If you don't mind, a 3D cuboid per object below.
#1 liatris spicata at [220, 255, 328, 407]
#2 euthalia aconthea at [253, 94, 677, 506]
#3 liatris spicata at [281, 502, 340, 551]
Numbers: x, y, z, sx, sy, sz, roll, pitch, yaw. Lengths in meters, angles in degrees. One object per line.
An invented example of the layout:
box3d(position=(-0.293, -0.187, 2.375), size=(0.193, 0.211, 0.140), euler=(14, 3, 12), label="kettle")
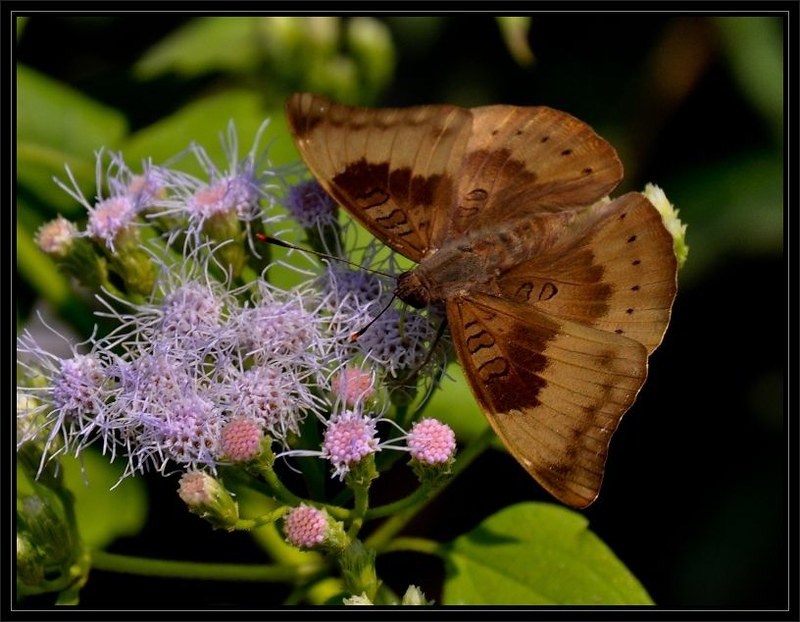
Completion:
box3d(position=(-0.472, 0.103, 3.584), size=(0.368, 0.171, 0.433), euler=(14, 75, -2), label="liatris spicata")
box3d(position=(0.389, -0.074, 3.913), size=(1.502, 2.361, 0.663), euler=(-22, 54, 16), label="euthalia aconthea")
box3d(position=(-0.336, 0.842, 3.570), size=(0.245, 0.117, 0.166), euler=(11, 78, 3), label="liatris spicata")
